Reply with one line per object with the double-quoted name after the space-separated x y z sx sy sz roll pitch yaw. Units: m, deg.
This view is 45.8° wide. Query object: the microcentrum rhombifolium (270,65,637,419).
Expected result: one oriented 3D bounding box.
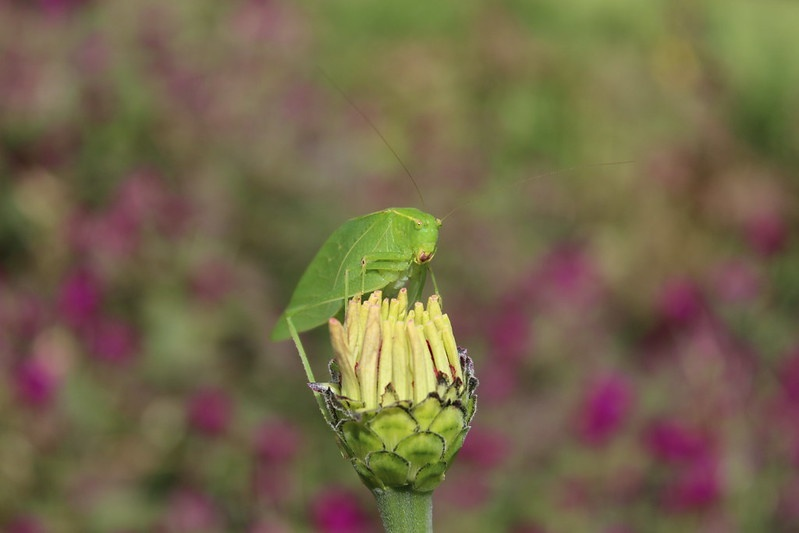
-0.031 0.000 5.475 1.020 1.214 2.761 -2 94 -18 "microcentrum rhombifolium"
